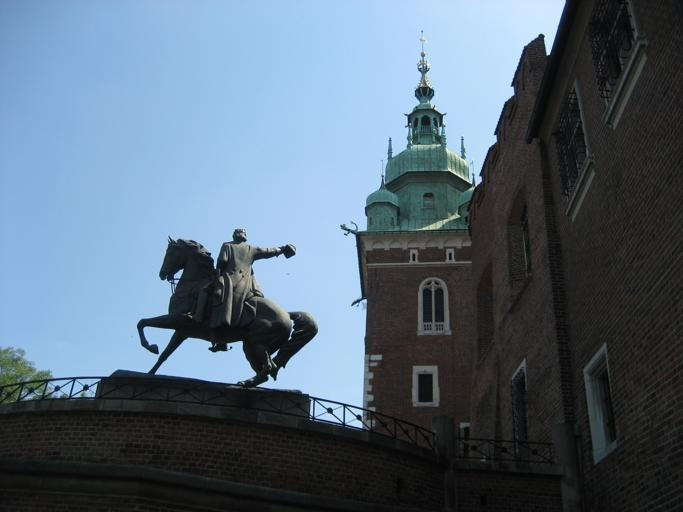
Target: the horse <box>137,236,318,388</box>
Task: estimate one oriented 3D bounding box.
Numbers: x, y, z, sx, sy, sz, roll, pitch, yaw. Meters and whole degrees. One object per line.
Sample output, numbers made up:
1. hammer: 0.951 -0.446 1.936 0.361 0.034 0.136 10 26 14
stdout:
1. horse: -2.754 1.436 19.384 3.321 3.451 1.444 3 -39 -5
